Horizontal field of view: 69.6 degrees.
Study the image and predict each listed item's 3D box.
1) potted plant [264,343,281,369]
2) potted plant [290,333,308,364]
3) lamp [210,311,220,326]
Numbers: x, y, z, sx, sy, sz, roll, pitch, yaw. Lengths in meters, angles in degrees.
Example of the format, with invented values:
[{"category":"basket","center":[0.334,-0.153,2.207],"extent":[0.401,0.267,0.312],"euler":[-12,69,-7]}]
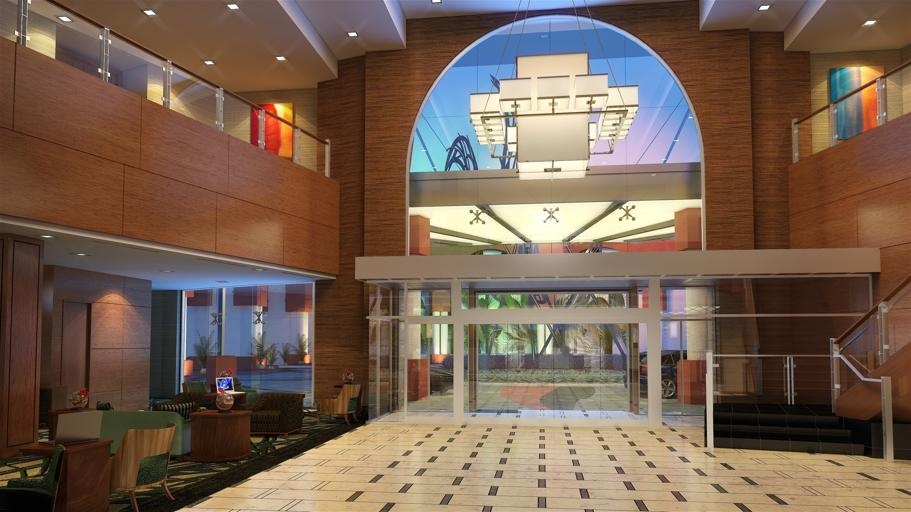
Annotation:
[{"category":"potted plant","center":[-6.496,3.532,23.161],"extent":[0.725,0.824,0.232],"euler":[3,6,28]},{"category":"potted plant","center":[-5.399,3.232,22.733],"extent":[0.823,0.995,0.297],"euler":[4,6,36]},{"category":"lamp","center":[-8.957,2.354,24.448],"extent":[0.598,0.403,0.151],"euler":[0,-4,25]}]
